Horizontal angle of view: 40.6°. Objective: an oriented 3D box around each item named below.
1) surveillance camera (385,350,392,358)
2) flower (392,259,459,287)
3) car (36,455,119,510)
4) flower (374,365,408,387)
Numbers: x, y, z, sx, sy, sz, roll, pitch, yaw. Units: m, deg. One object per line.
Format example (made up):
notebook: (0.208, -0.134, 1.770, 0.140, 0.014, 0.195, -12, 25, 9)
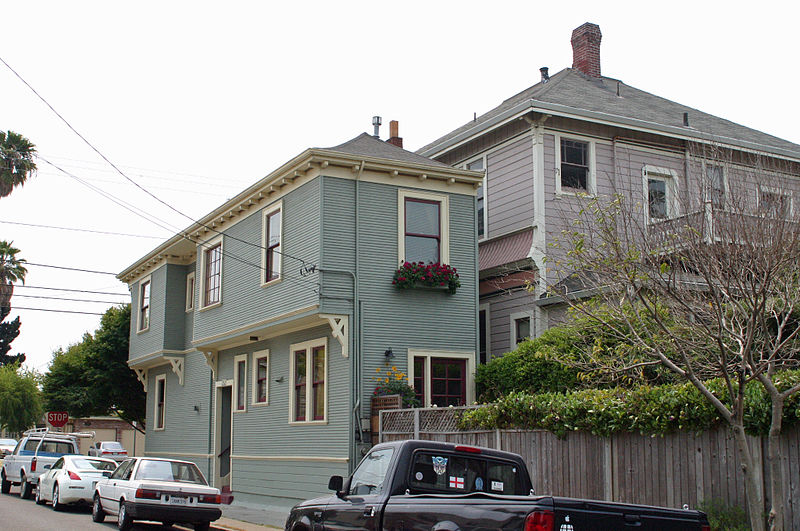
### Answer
surveillance camera: (-0.354, 2.488, 30.270, 0.228, 0.221, 0.197, 4, -7, -31)
flower: (0.755, 0.265, 30.917, 1.216, 0.407, 0.961, 3, -7, -10)
car: (-9.929, 6.476, 32.362, 1.437, 0.882, 2.654, 5, -8, -27)
flower: (-0.260, 3.088, 30.051, 0.605, 0.710, 0.599, -8, -14, 36)
